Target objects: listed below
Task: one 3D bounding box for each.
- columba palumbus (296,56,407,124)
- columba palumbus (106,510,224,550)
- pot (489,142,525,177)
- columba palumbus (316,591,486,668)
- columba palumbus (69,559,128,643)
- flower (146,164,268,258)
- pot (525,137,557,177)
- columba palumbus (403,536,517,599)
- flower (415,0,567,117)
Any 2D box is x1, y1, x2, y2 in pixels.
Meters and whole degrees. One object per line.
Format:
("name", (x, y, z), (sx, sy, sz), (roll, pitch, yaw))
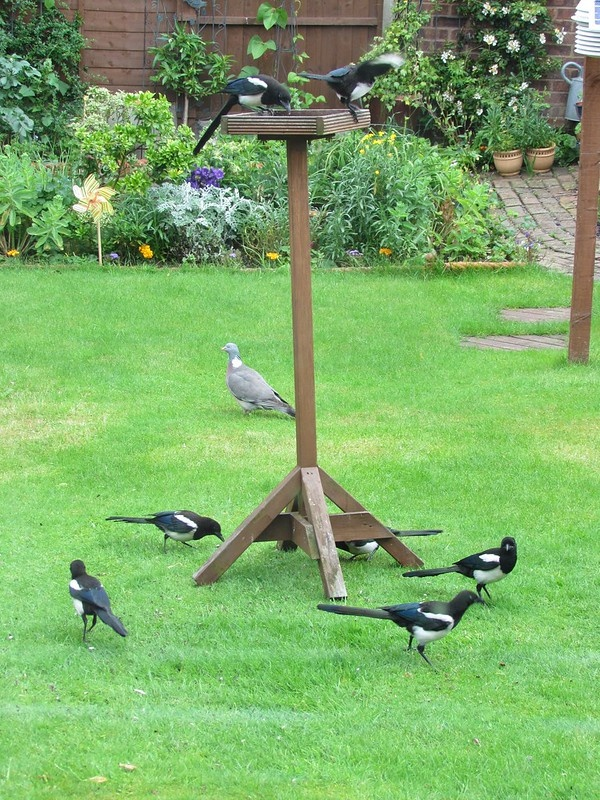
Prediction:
("columba palumbus", (0.284, -1.472, 7.331), (0.370, 0.297, 0.634), (0, 11, 1))
("columba palumbus", (-0.648, 0.638, 7.747), (0.539, 0.206, 0.233), (-1, 11, -4))
("pot", (2.269, -2.611, 17.020), (0.286, 0.240, 0.290), (-3, 11, 1))
("columba palumbus", (0.438, 0.938, 6.642), (0.657, 0.373, 0.183), (6, 18, -5))
("columba palumbus", (-0.898, 0.878, 6.803), (0.133, 0.322, 0.430), (-3, 16, -42))
("flower", (-0.853, -1.663, 14.055), (0.834, 0.593, 0.849), (7, 22, -1))
("pot", (2.642, -2.690, 17.078), (0.321, 0.263, 0.328), (-1, 9, 0))
("columba palumbus", (0.766, 0.766, 7.197), (0.536, 0.303, 0.149), (2, 2, 33))
("flower", (2.342, -3.906, 17.908), (1.706, 1.389, 0.407), (-2, 11, -7))
